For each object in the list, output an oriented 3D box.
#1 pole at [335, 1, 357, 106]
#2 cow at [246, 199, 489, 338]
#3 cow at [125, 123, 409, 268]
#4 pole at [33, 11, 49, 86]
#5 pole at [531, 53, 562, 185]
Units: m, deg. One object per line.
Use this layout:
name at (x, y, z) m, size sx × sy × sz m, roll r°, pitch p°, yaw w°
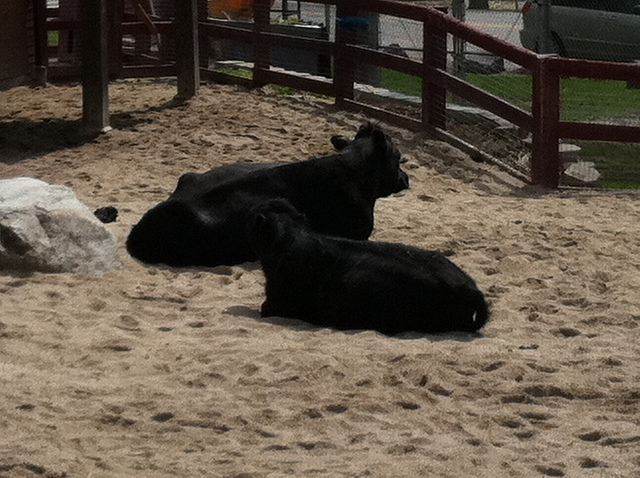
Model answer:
pole at (0.332, -2.463, 14.233) m, size 0.278 × 1.331 × 0.340 m, roll 2°, pitch 20°, yaw -3°
cow at (0.391, 0.261, 8.827) m, size 1.774 × 0.794 × 0.904 m, roll 13°, pitch 17°, yaw 11°
cow at (-0.373, -0.214, 9.610) m, size 2.366 × 1.076 × 1.115 m, roll -7°, pitch 32°, yaw -13°
pole at (-3.920, -2.629, 14.941) m, size 0.245 × 1.040 × 0.172 m, roll -12°, pitch 25°, yaw -35°
pole at (2.567, -1.361, 12.263) m, size 0.387 × 1.419 × 0.469 m, roll 6°, pitch 20°, yaw 8°
